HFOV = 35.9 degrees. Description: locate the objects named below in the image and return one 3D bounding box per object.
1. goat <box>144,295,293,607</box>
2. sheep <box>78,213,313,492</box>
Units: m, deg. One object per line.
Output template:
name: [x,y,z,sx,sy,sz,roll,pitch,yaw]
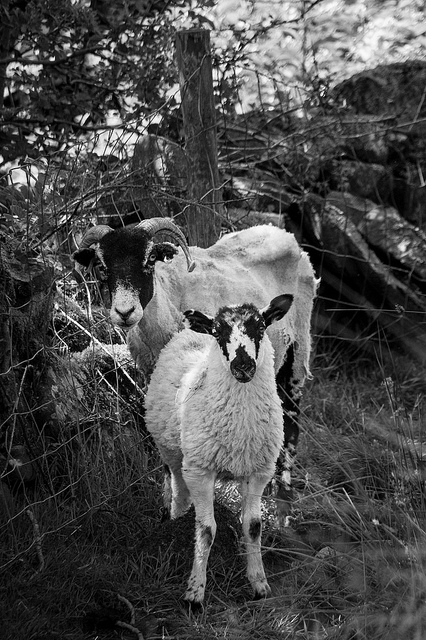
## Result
goat: [0.043,0.517,2.915,0.951,1.193,0.710,-2,20,-2]
sheep: [0.014,0.211,4.094,0.791,1.716,1.814,0,5,39]
